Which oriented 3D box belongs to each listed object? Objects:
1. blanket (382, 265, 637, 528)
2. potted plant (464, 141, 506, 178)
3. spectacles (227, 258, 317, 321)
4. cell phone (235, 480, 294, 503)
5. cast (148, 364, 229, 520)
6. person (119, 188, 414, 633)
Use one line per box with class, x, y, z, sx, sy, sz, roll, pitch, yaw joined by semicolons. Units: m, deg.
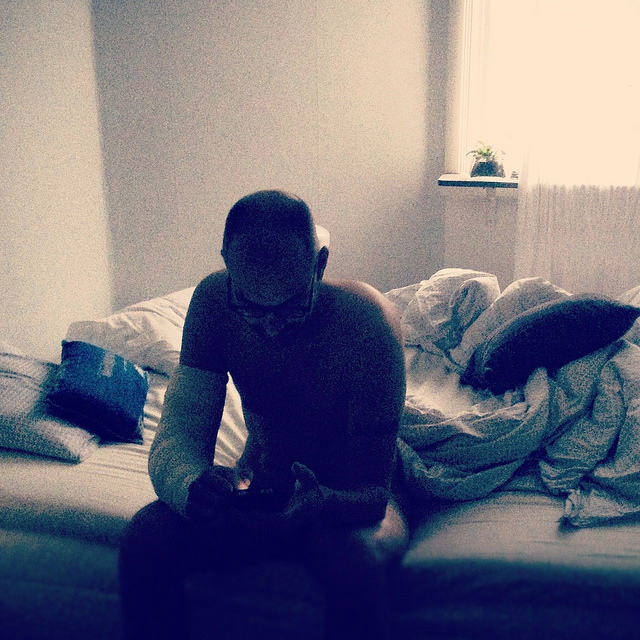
blanket;0.490;0.138;1.866;0.573;0.424;0.960;4;11;7
potted plant;0.784;-0.730;3.540;0.157;0.129;0.176;4;42;4
spectacles;-0.085;-0.030;1.198;0.142;0.054;0.073;4;10;7
cell phone;-0.098;0.301;1.293;0.063;0.018;0.064;-6;0;3
cast;-0.232;0.201;1.279;0.127;0.210;0.191;1;10;-2
person;-0.100;0.172;1.324;0.523;0.794;0.312;3;10;6
